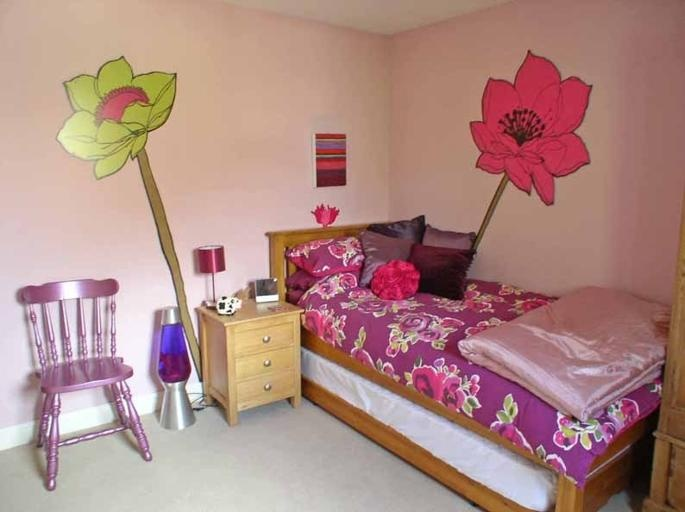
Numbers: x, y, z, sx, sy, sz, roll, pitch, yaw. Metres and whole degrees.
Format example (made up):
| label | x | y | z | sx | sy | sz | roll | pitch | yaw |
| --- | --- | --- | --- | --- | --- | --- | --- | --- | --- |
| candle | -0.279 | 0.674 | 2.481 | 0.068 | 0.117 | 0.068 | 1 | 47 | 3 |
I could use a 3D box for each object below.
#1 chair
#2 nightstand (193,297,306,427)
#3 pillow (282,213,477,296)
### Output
| label | x | y | z | sx | sy | sz | roll | pitch | yaw |
| --- | --- | --- | --- | --- | --- | --- | --- | --- | --- |
| chair | -1.657 | 0.734 | 3.123 | 0.625 | 1.123 | 0.685 | -10 | 12 | -35 |
| nightstand | -0.615 | 0.616 | 3.813 | 0.883 | 1.123 | 0.750 | -6 | 10 | -36 |
| pillow | 0.256 | -0.055 | 3.915 | 0.997 | 0.304 | 0.744 | -10 | 26 | -18 |
